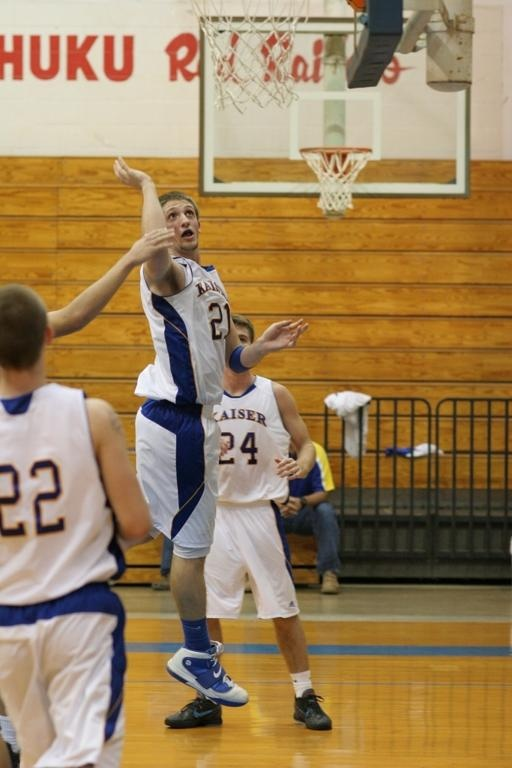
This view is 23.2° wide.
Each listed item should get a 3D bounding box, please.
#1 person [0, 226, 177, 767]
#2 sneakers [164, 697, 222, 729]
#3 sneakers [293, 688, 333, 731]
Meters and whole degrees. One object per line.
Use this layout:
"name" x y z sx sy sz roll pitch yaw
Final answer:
"person" -0.554 0.340 3.883 0.427 1.672 0.857 1 4 16
"sneakers" -0.217 1.261 4.805 0.261 0.130 0.095 1 -1 -11
"sneakers" 0.210 1.259 4.821 0.085 0.085 0.212 -1 -5 -20
